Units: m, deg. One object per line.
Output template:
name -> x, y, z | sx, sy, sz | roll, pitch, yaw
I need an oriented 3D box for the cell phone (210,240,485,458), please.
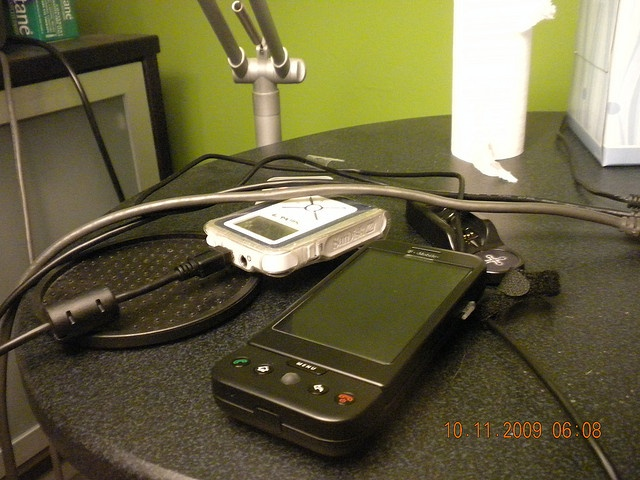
cell phone -> 0.030, 0.065, 0.359 | 0.120, 0.034, 0.201 | 17, 31, 36
